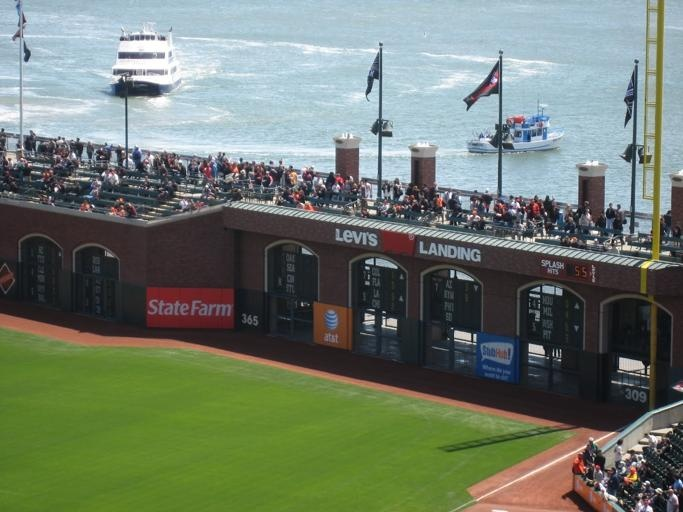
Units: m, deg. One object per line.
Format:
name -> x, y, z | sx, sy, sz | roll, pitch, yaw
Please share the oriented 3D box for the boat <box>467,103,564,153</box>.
boat -> 19.001, -13.614, 212.975 | 10.089, 4.565, 3.364 | -5, 10, -15
